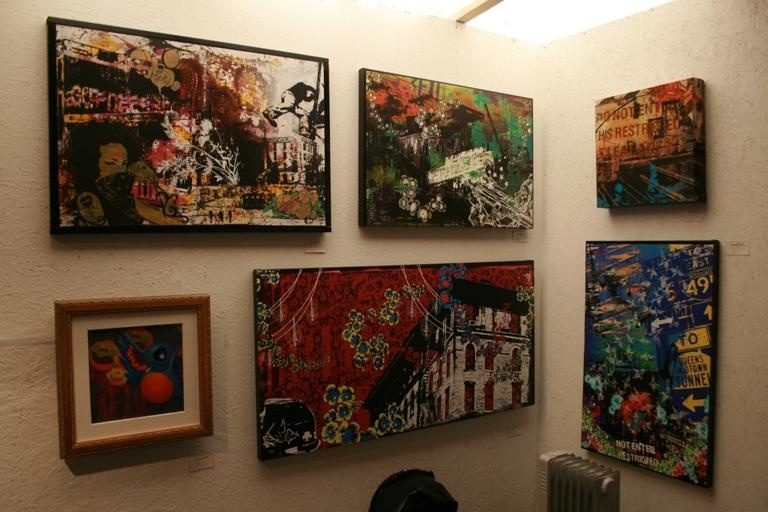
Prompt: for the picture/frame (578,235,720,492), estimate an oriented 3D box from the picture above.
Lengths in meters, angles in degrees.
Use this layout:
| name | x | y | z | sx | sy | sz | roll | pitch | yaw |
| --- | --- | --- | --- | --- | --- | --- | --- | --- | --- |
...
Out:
| name | x | y | z | sx | sy | sz | roll | pitch | yaw |
| --- | --- | --- | --- | --- | --- | --- | --- | --- | --- |
| picture/frame | 1.550 | 0.592 | 3.619 | 0.754 | 1.356 | 0.121 | 0 | 2 | 41 |
